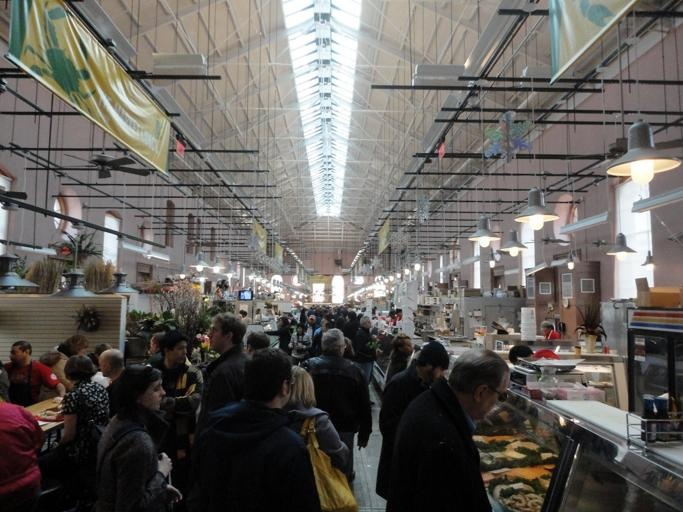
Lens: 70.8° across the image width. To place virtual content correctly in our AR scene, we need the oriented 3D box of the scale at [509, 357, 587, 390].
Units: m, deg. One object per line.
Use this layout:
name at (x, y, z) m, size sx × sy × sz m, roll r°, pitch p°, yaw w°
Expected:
scale at (1.662, 0.923, 3.792) m, size 0.417 × 0.165 × 0.308 m, roll 3°, pitch -7°, yaw -12°

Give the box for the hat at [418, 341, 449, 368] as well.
hat at (0.741, 0.797, 3.934) m, size 0.229 × 0.187 × 0.173 m, roll -12°, pitch -3°, yaw 0°

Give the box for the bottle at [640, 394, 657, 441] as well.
bottle at (1.649, 0.867, 2.571) m, size 0.074 × 0.218 × 0.201 m, roll -4°, pitch -9°, yaw 32°

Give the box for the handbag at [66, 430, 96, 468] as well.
handbag at (-2.036, 1.504, 3.755) m, size 0.273 × 0.274 × 0.155 m, roll 1°, pitch -11°, yaw 11°

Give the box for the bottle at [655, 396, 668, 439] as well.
bottle at (1.733, 0.861, 2.583) m, size 0.056 × 0.183 × 0.190 m, roll -4°, pitch -9°, yaw 32°

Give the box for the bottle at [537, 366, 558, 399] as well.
bottle at (1.536, 0.935, 3.570) m, size 0.126 × 0.221 × 0.099 m, roll 1°, pitch -25°, yaw 10°
